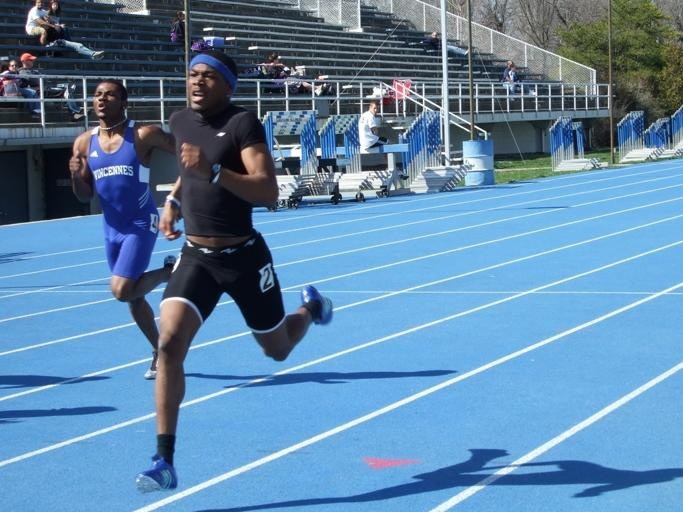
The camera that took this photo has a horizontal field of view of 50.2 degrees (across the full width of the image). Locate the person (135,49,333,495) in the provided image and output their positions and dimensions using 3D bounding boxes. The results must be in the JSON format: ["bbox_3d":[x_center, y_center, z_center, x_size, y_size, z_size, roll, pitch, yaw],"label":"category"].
[{"bbox_3d":[-0.607,0.032,3.908,0.817,2.216,1.396,1,7,-2],"label":"person"}]

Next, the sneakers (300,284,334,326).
[{"bbox_3d":[-0.174,0.344,4.988,0.151,0.135,0.347,-15,-27,15],"label":"sneakers"}]

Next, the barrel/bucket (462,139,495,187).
[{"bbox_3d":[4.252,-2.835,22.443,0.962,1.410,0.699,1,7,-1],"label":"barrel/bucket"}]

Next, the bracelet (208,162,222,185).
[{"bbox_3d":[-0.616,-0.402,3.563,0.056,0.095,0.082,8,-10,-2],"label":"bracelet"}]

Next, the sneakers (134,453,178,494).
[{"bbox_3d":[-0.847,0.995,3.334,0.124,0.096,0.255,-16,-13,-30],"label":"sneakers"}]

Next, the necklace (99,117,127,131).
[{"bbox_3d":[-1.616,-0.927,5.153,0.188,0.090,0.168,-2,9,-20],"label":"necklace"}]
